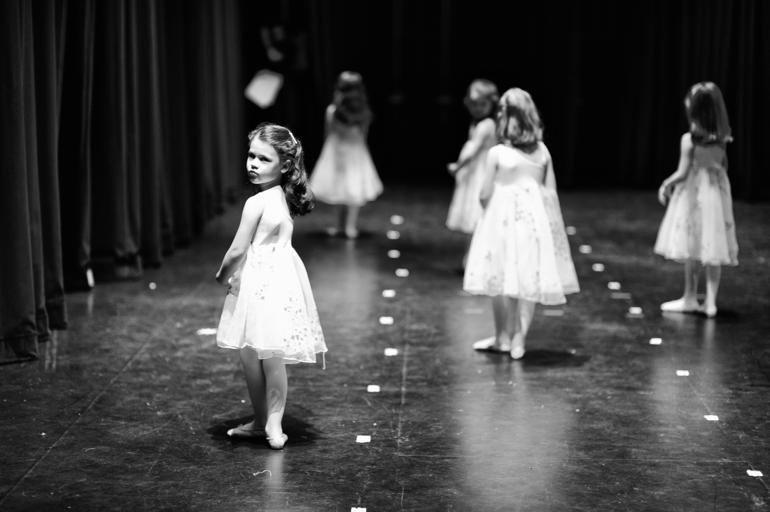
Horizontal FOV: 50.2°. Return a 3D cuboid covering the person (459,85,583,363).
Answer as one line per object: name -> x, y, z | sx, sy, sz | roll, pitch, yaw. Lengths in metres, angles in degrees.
person -> 0.877, -0.208, 5.262 | 0.734, 1.702, 0.487 | -1, 10, 2

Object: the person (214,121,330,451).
person -> -0.585, 0.152, 4.179 | 0.536, 1.625, 0.398 | -3, 10, -9

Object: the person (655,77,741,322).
person -> 2.307, -0.409, 5.983 | 0.603, 1.672, 0.420 | 1, 10, 11
